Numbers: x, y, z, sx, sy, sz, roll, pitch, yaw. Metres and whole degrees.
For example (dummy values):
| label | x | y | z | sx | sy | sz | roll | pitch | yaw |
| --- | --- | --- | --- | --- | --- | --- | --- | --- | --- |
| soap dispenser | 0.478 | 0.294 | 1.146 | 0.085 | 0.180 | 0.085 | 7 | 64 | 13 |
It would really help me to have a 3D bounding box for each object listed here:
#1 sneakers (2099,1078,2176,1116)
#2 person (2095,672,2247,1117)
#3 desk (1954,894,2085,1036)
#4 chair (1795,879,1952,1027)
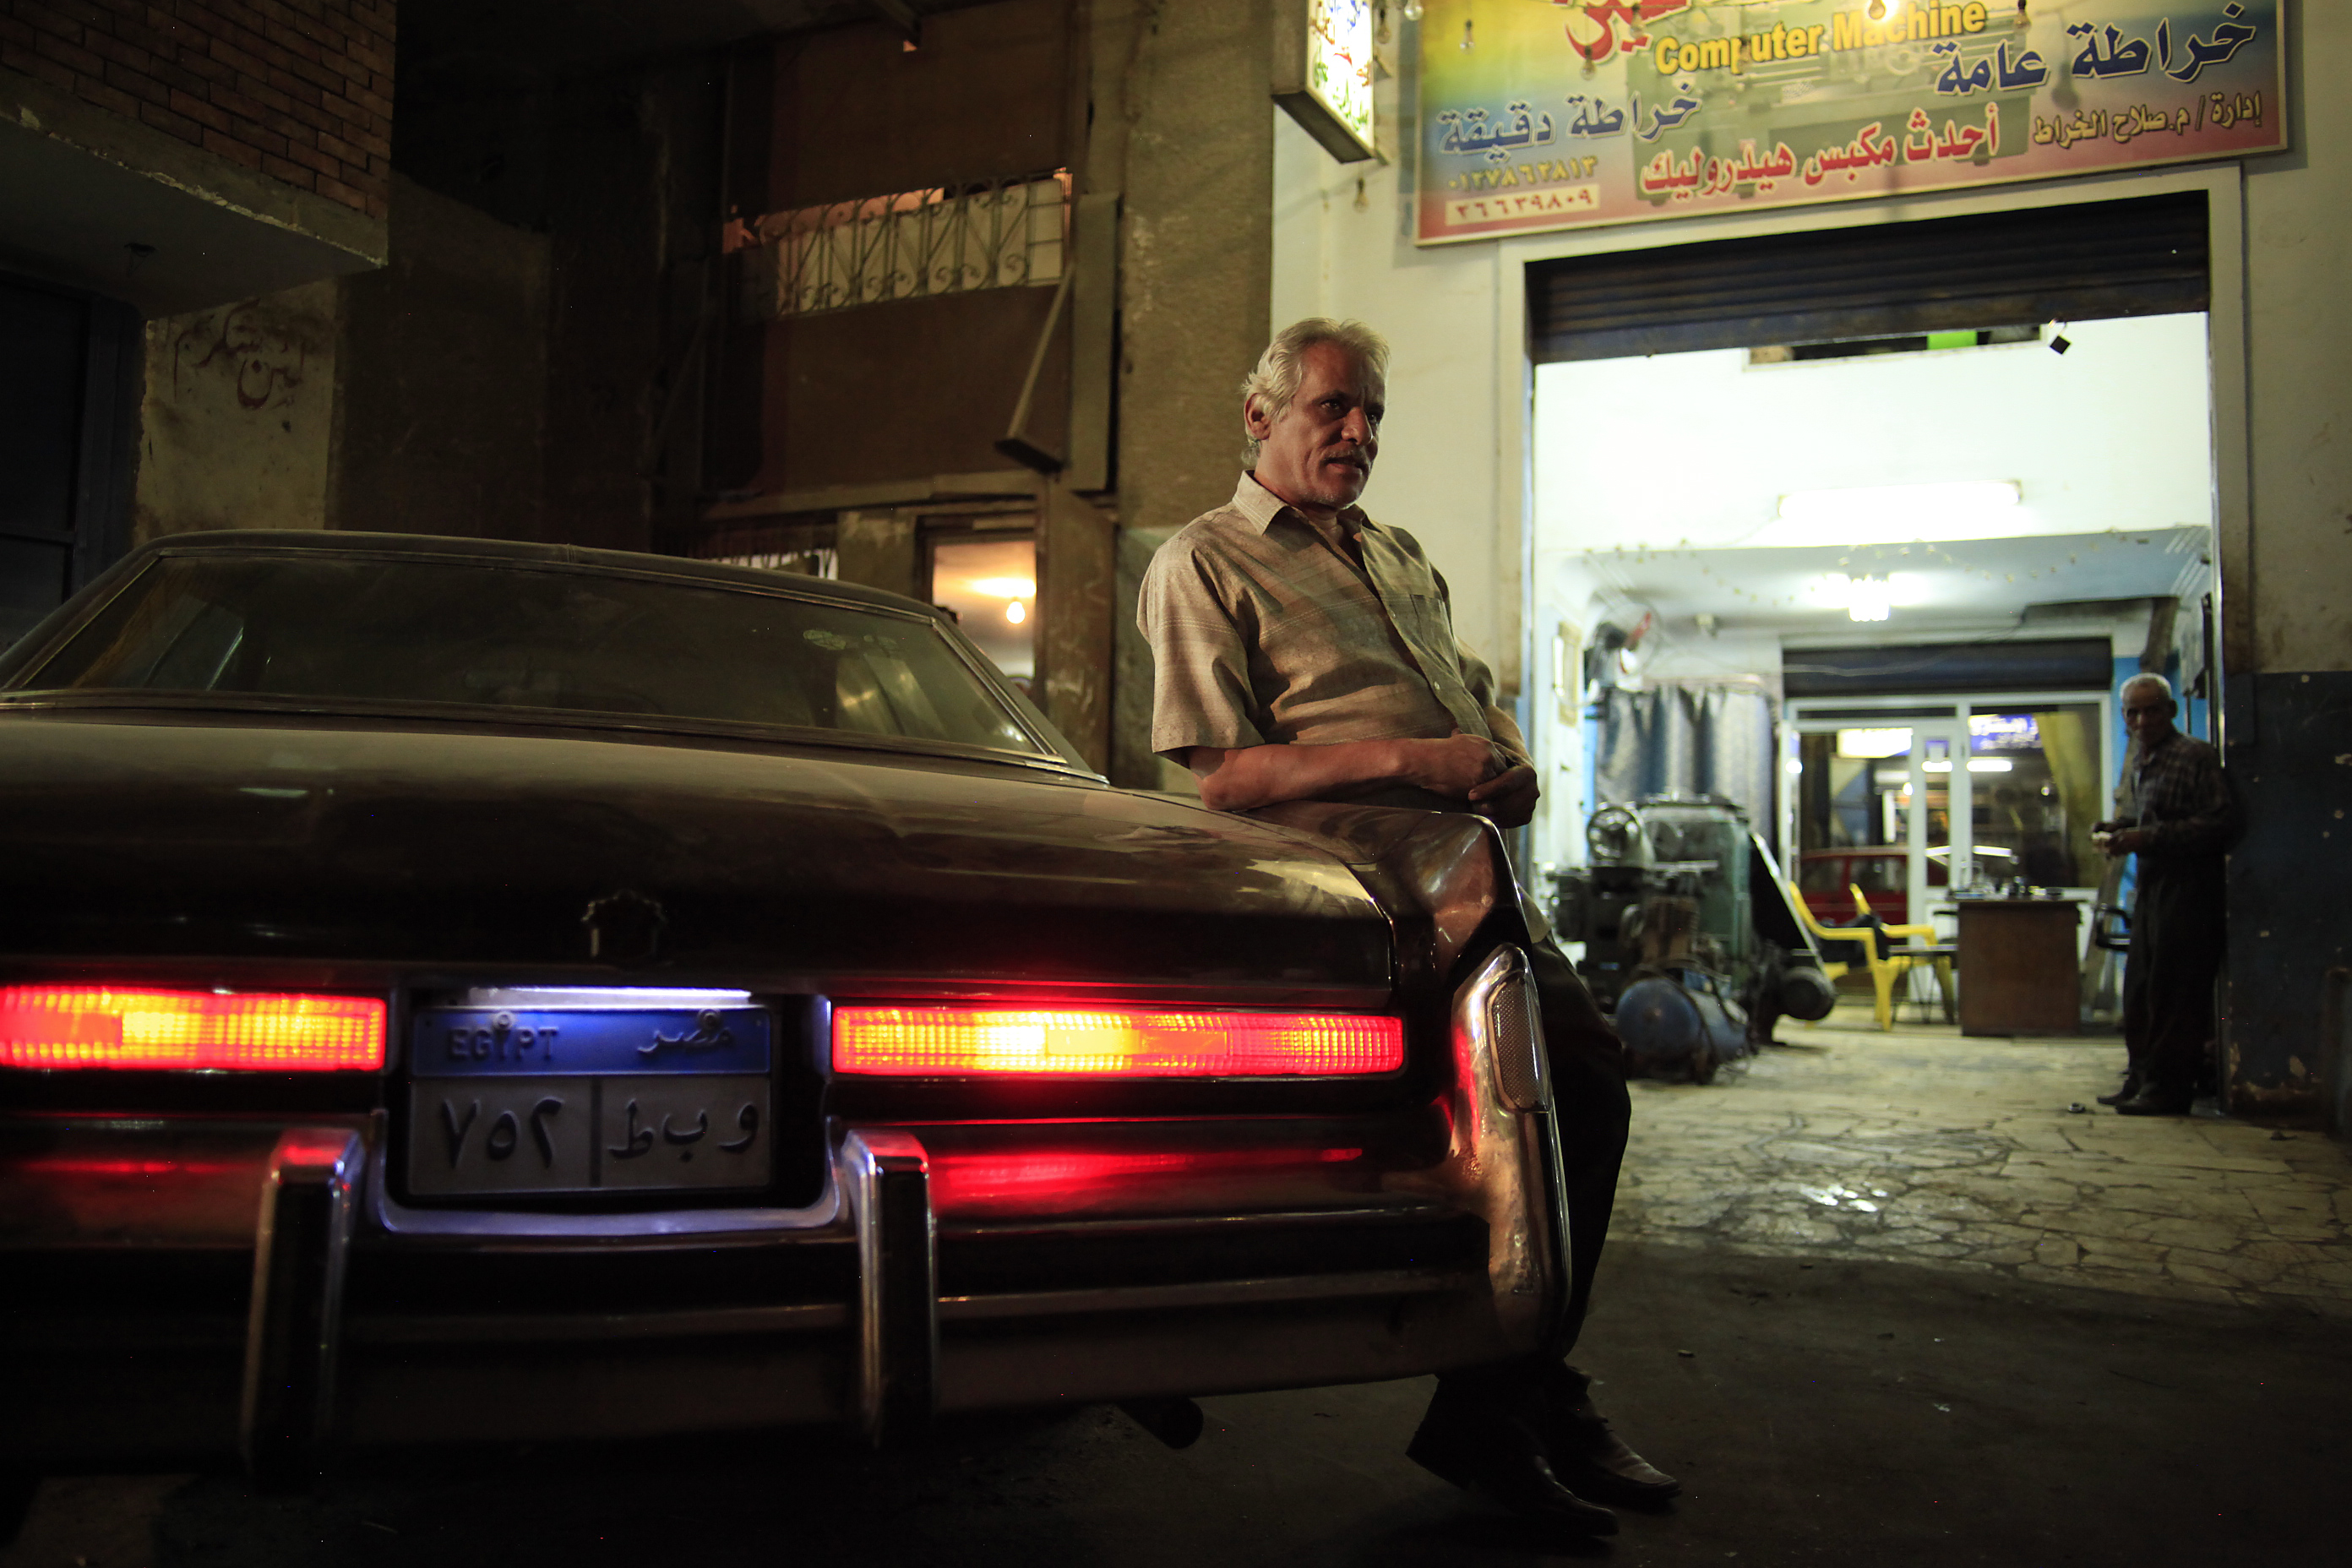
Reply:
| label | x | y | z | sx | sy | sz | roll | pitch | yaw |
| --- | --- | --- | --- | --- | --- | --- | --- | --- | --- |
| sneakers | 4.630 | 1.506 | 8.780 | 0.356 | 0.124 | 0.272 | 0 | -1 | 31 |
| person | 4.890 | 0.508 | 9.040 | 0.592 | 2.157 | 0.817 | -1 | -2 | 20 |
| desk | 6.435 | 1.376 | 14.019 | 0.995 | 0.975 | 0.988 | -2 | -7 | 18 |
| chair | 6.248 | 1.416 | 15.685 | 0.953 | 1.088 | 0.962 | -3 | -3 | -30 |
